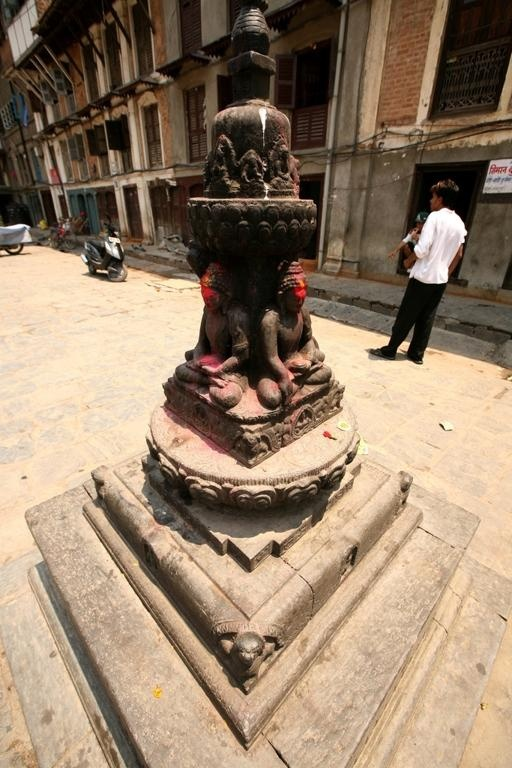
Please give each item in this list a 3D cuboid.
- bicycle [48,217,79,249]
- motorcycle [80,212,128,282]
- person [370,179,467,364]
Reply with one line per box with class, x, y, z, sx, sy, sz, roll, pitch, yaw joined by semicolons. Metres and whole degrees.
bicycle;-8.185;-5.995;16.867;1.309;1.059;0.597;20;31;36
motorcycle;-3.952;-3.169;10.501;0.590;0.994;1.491;-16;29;-32
person;1.915;-1.191;4.630;0.921;1.984;0.554;8;10;16
